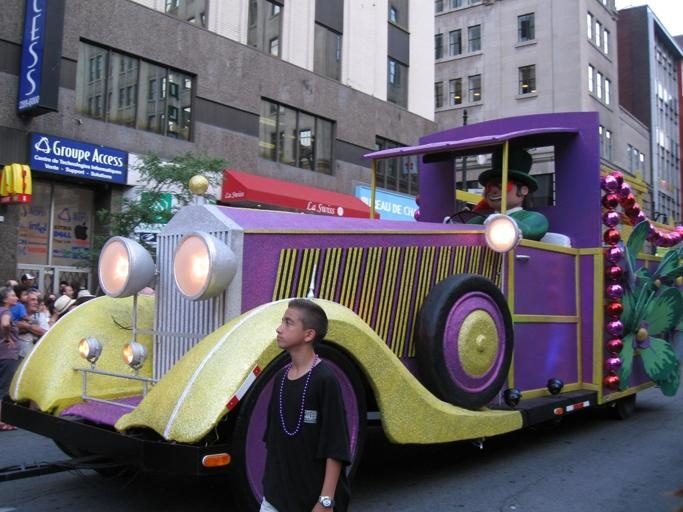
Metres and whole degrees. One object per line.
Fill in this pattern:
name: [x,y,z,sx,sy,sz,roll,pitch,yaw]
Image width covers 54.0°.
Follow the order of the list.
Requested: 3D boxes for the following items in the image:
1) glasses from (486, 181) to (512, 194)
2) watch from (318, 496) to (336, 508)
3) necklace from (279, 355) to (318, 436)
glasses: [1.904,-0.832,8.102,0.214,0.073,0.221,-3,-13,44]
watch: [-0.105,1.502,4.106,0.070,0.070,0.072,5,-7,1]
necklace: [-0.293,0.912,4.346,0.219,0.472,0.075,0,-18,22]
